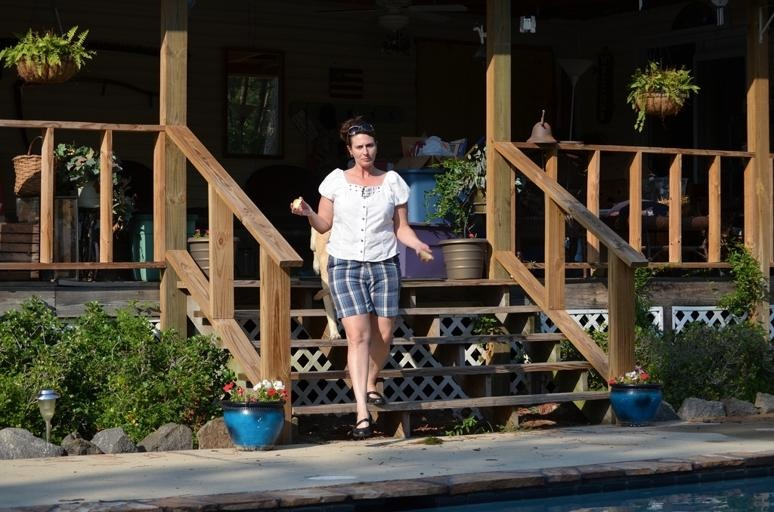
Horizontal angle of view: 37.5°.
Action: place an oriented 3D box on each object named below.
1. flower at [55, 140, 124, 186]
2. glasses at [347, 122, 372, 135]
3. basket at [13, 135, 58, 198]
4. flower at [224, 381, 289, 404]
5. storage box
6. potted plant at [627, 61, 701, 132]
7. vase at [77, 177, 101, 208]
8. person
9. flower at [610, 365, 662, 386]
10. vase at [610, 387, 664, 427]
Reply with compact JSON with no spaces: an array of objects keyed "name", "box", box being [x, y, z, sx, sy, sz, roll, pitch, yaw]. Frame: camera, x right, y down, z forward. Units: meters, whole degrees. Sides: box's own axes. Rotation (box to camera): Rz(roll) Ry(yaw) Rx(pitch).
[{"name":"flower","box":[-3.290,-0.955,12.121,0.453,0.467,0.234,-1,0,-19]},{"name":"glasses","box":[-0.228,-1.134,10.180,0.213,0.116,0.133,-2,1,-30]},{"name":"basket","box":[-3.671,-0.966,11.909,0.374,0.472,0.323,-2,-6,18]},{"name":"flower","box":[-1.158,1.198,10.099,0.560,0.200,0.425,-1,1,-7]},{"name":"storage box","box":[0.663,-0.466,13.038,1.334,1.998,1.309,0,-3,-9]},{"name":"potted plant","box":[3.275,-1.912,13.613,0.769,0.783,0.775,-1,1,11]},{"name":"vase","box":[-3.181,-0.662,12.143,0.267,0.259,0.232,1,0,-17]},{"name":"person","box":[-0.189,0.179,10.210,0.955,2.811,0.511,-1,0,-6]},{"name":"flower","box":[2.387,1.158,11.058,0.464,0.164,0.361,-1,1,12]},{"name":"vase","box":[2.399,1.420,10.988,0.400,0.304,0.412,-1,-3,15]}]
